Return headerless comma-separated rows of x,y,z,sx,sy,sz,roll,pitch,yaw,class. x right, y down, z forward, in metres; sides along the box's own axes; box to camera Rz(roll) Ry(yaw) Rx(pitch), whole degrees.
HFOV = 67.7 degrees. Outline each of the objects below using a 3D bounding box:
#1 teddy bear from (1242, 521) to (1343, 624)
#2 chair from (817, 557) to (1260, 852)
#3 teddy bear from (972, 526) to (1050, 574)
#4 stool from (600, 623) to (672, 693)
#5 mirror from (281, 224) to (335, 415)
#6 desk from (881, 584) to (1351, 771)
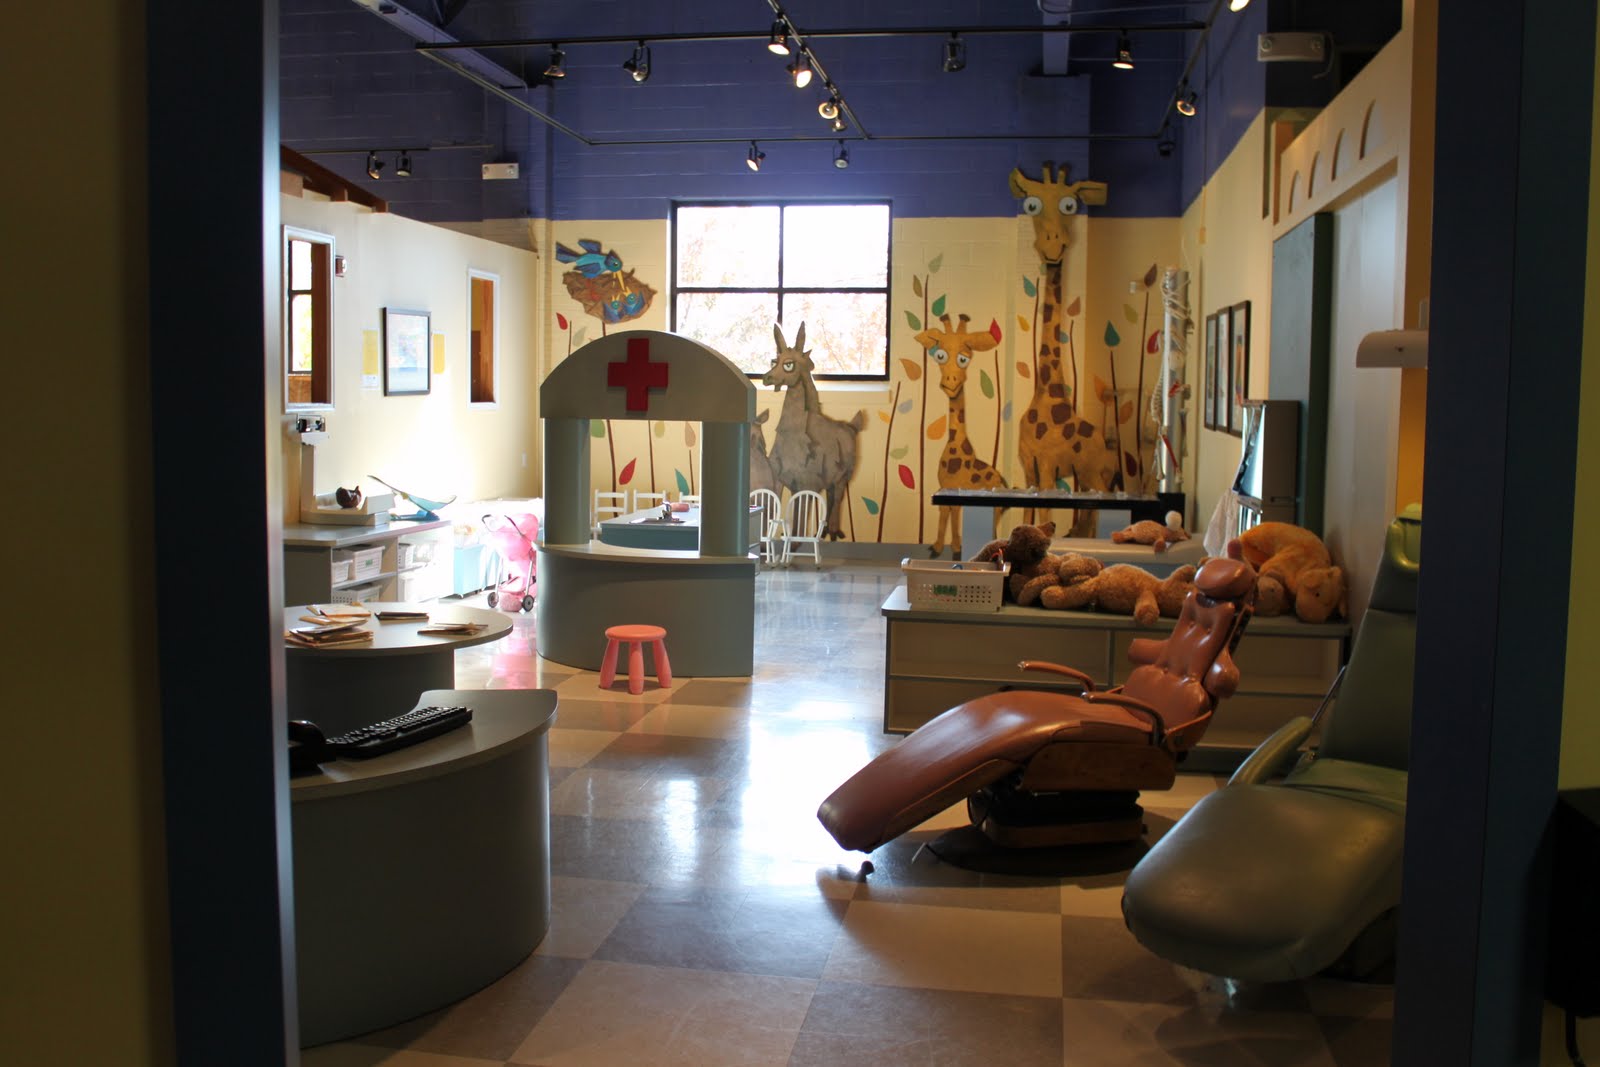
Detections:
2.474,0.139,6.065,0.428,0.295,0.658,-9,36,14,teddy bear
0.964,0.637,4.813,1.666,1.116,0.873,-2,6,-6,chair
1.115,0.057,6.309,0.236,0.150,0.318,-29,11,-39,teddy bear
-0.994,0.735,7.239,0.428,0.378,0.640,1,8,-2,stool
-3.624,-1.565,8.697,0.326,1.228,0.494,0,8,-4,mirror
1.584,0.795,6.222,2.200,0.844,0.648,1,7,15,desk
